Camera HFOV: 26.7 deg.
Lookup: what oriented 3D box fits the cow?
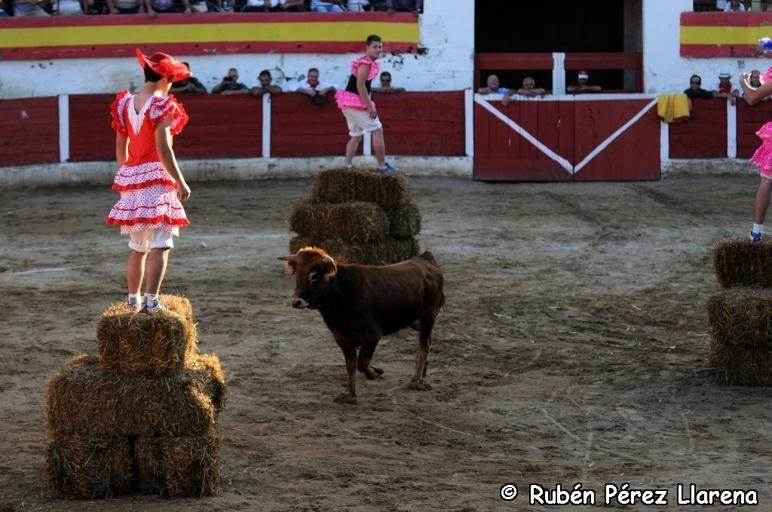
[{"bbox_3d":[-0.283,0.824,21.380,2.034,2.050,0.785,-13,17,-36],"label":"cow"}]

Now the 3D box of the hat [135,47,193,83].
[{"bbox_3d":[-2.807,-2.331,20.419,0.698,0.199,0.546,8,40,-16],"label":"hat"}]

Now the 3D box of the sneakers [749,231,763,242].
[{"bbox_3d":[4.923,-0.263,21.870,0.161,0.124,0.109,1,2,2],"label":"sneakers"}]

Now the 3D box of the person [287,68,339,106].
[{"bbox_3d":[-1.367,-3.178,30.759,1.284,0.712,0.661,0,5,-15],"label":"person"}]

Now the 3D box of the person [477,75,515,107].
[{"bbox_3d":[2.008,-3.178,30.840,0.630,0.506,0.806,-6,13,-13],"label":"person"}]

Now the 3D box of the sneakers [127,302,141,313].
[{"bbox_3d":[-3.123,0.636,20.157,0.122,0.076,0.120,-2,4,-40],"label":"sneakers"}]

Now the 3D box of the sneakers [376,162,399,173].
[{"bbox_3d":[-0.014,-1.353,24.835,0.378,0.132,0.130,0,11,-7],"label":"sneakers"}]

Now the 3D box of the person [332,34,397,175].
[{"bbox_3d":[-0.379,-2.390,25.032,0.806,2.078,1.246,-4,14,-2],"label":"person"}]
